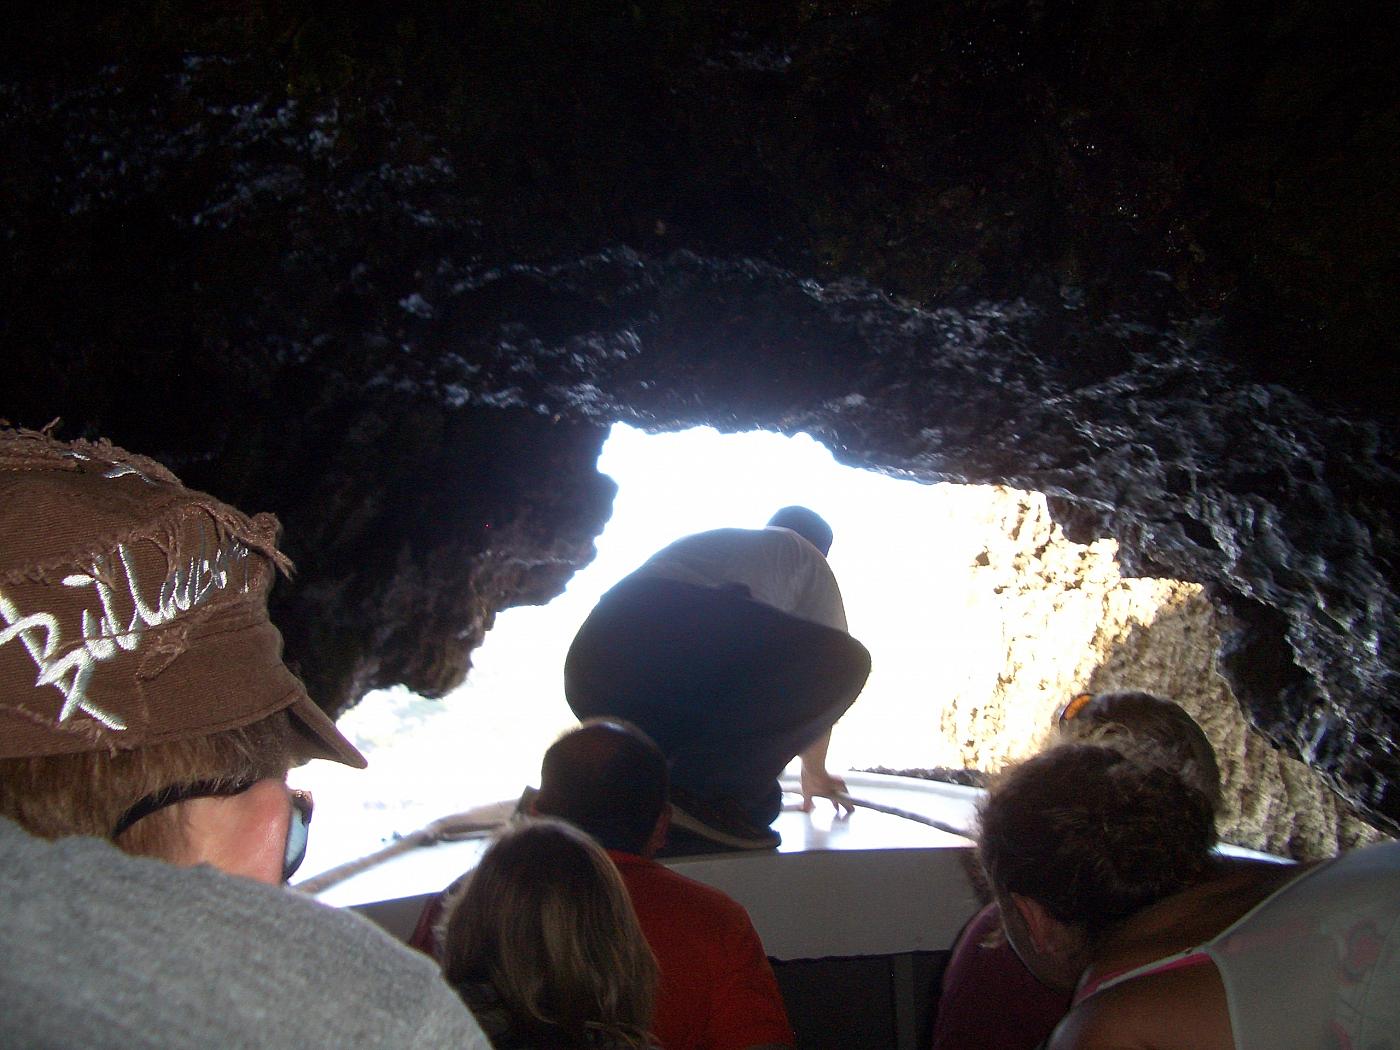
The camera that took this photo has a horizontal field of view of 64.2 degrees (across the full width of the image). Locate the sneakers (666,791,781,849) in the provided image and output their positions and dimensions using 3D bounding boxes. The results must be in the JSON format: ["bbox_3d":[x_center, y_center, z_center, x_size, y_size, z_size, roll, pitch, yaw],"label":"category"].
[{"bbox_3d":[0.075,1.121,4.179,0.478,0.210,0.170,5,-24,-2],"label":"sneakers"}]
